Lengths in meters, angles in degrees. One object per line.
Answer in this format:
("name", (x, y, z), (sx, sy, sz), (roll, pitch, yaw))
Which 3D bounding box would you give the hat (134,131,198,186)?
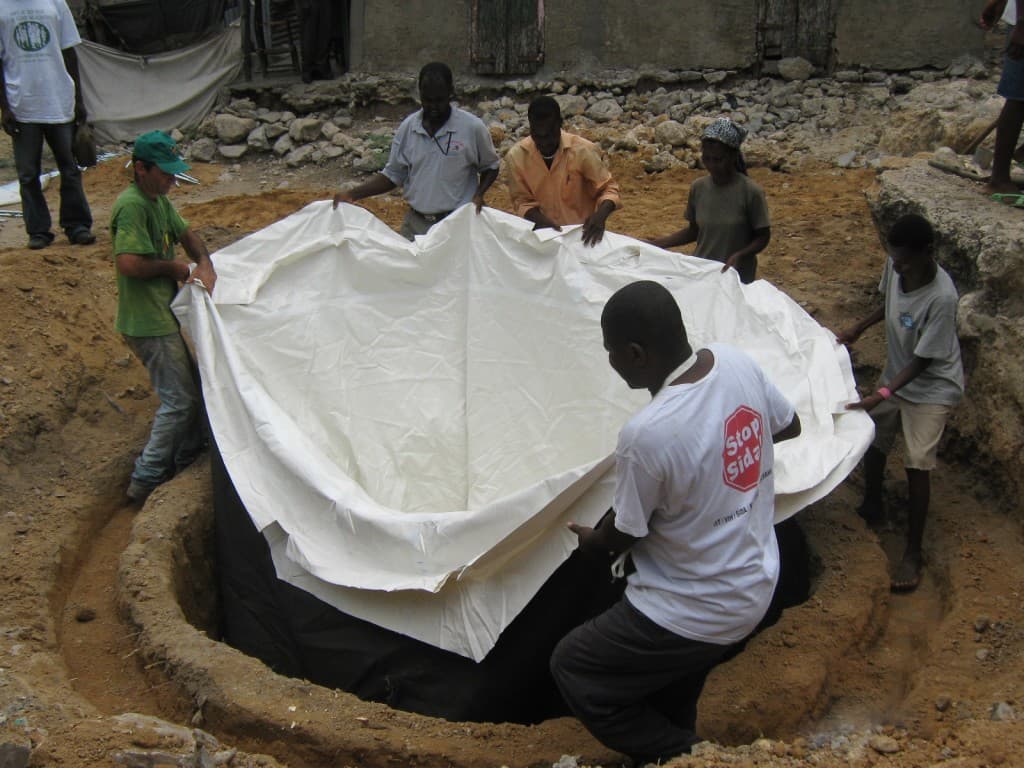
("hat", (-1.974, -1.300, 6.055), (0.189, 0.253, 0.285), (10, 19, 34))

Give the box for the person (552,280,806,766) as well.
("person", (0.703, 0.646, 4.797), (0.998, 2.129, 0.574), (1, 16, 8))

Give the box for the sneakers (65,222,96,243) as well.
("sneakers", (-3.427, -1.192, 8.493), (0.235, 0.108, 0.126), (18, 51, 40))

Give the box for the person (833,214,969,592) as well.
("person", (2.129, 0.062, 5.861), (0.601, 1.988, 0.815), (1, 16, 7))

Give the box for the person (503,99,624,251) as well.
("person", (0.386, -1.402, 6.909), (0.546, 0.870, 0.876), (-13, 20, -35))

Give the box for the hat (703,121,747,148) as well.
("hat", (1.277, -1.487, 6.347), (0.328, 0.175, 0.143), (-12, 20, -35))

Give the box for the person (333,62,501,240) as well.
("person", (-0.542, -1.524, 7.098), (0.905, 1.149, 0.472), (-1, 16, -1))

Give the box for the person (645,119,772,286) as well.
("person", (1.244, -1.186, 6.557), (0.414, 0.869, 0.565), (-15, 21, -40))

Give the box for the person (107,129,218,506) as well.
("person", (-2.053, -0.353, 6.254), (0.626, 2.180, 0.652), (-8, 18, -22))
